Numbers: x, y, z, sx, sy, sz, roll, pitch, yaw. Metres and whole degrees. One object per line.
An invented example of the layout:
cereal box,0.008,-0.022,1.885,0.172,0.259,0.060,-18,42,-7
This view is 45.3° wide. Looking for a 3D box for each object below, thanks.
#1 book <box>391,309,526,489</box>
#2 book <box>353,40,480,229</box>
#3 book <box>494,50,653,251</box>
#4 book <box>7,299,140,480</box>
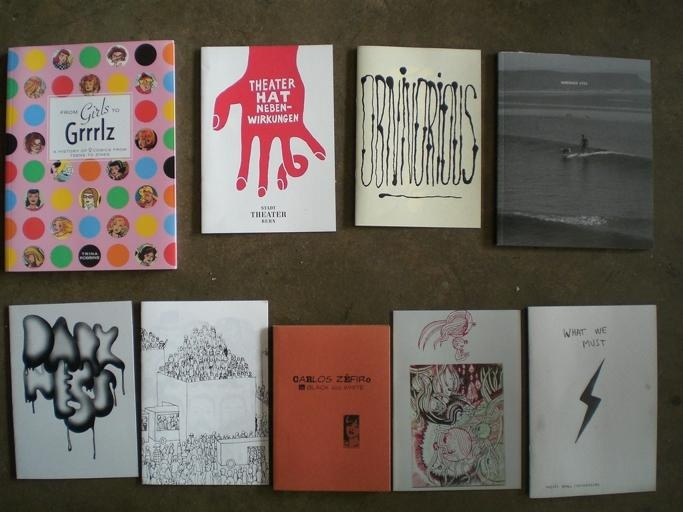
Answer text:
book,0.304,0.403,2.233,0.365,0.624,0.023,0,-2,-4
book,0.201,-0.322,2.248,0.376,0.651,0.048,0,0,0
book,0.622,-0.276,2.254,0.411,0.651,0.062,1,-3,-3
book,-0.724,0.374,2.239,0.354,0.626,0.055,-2,0,2
